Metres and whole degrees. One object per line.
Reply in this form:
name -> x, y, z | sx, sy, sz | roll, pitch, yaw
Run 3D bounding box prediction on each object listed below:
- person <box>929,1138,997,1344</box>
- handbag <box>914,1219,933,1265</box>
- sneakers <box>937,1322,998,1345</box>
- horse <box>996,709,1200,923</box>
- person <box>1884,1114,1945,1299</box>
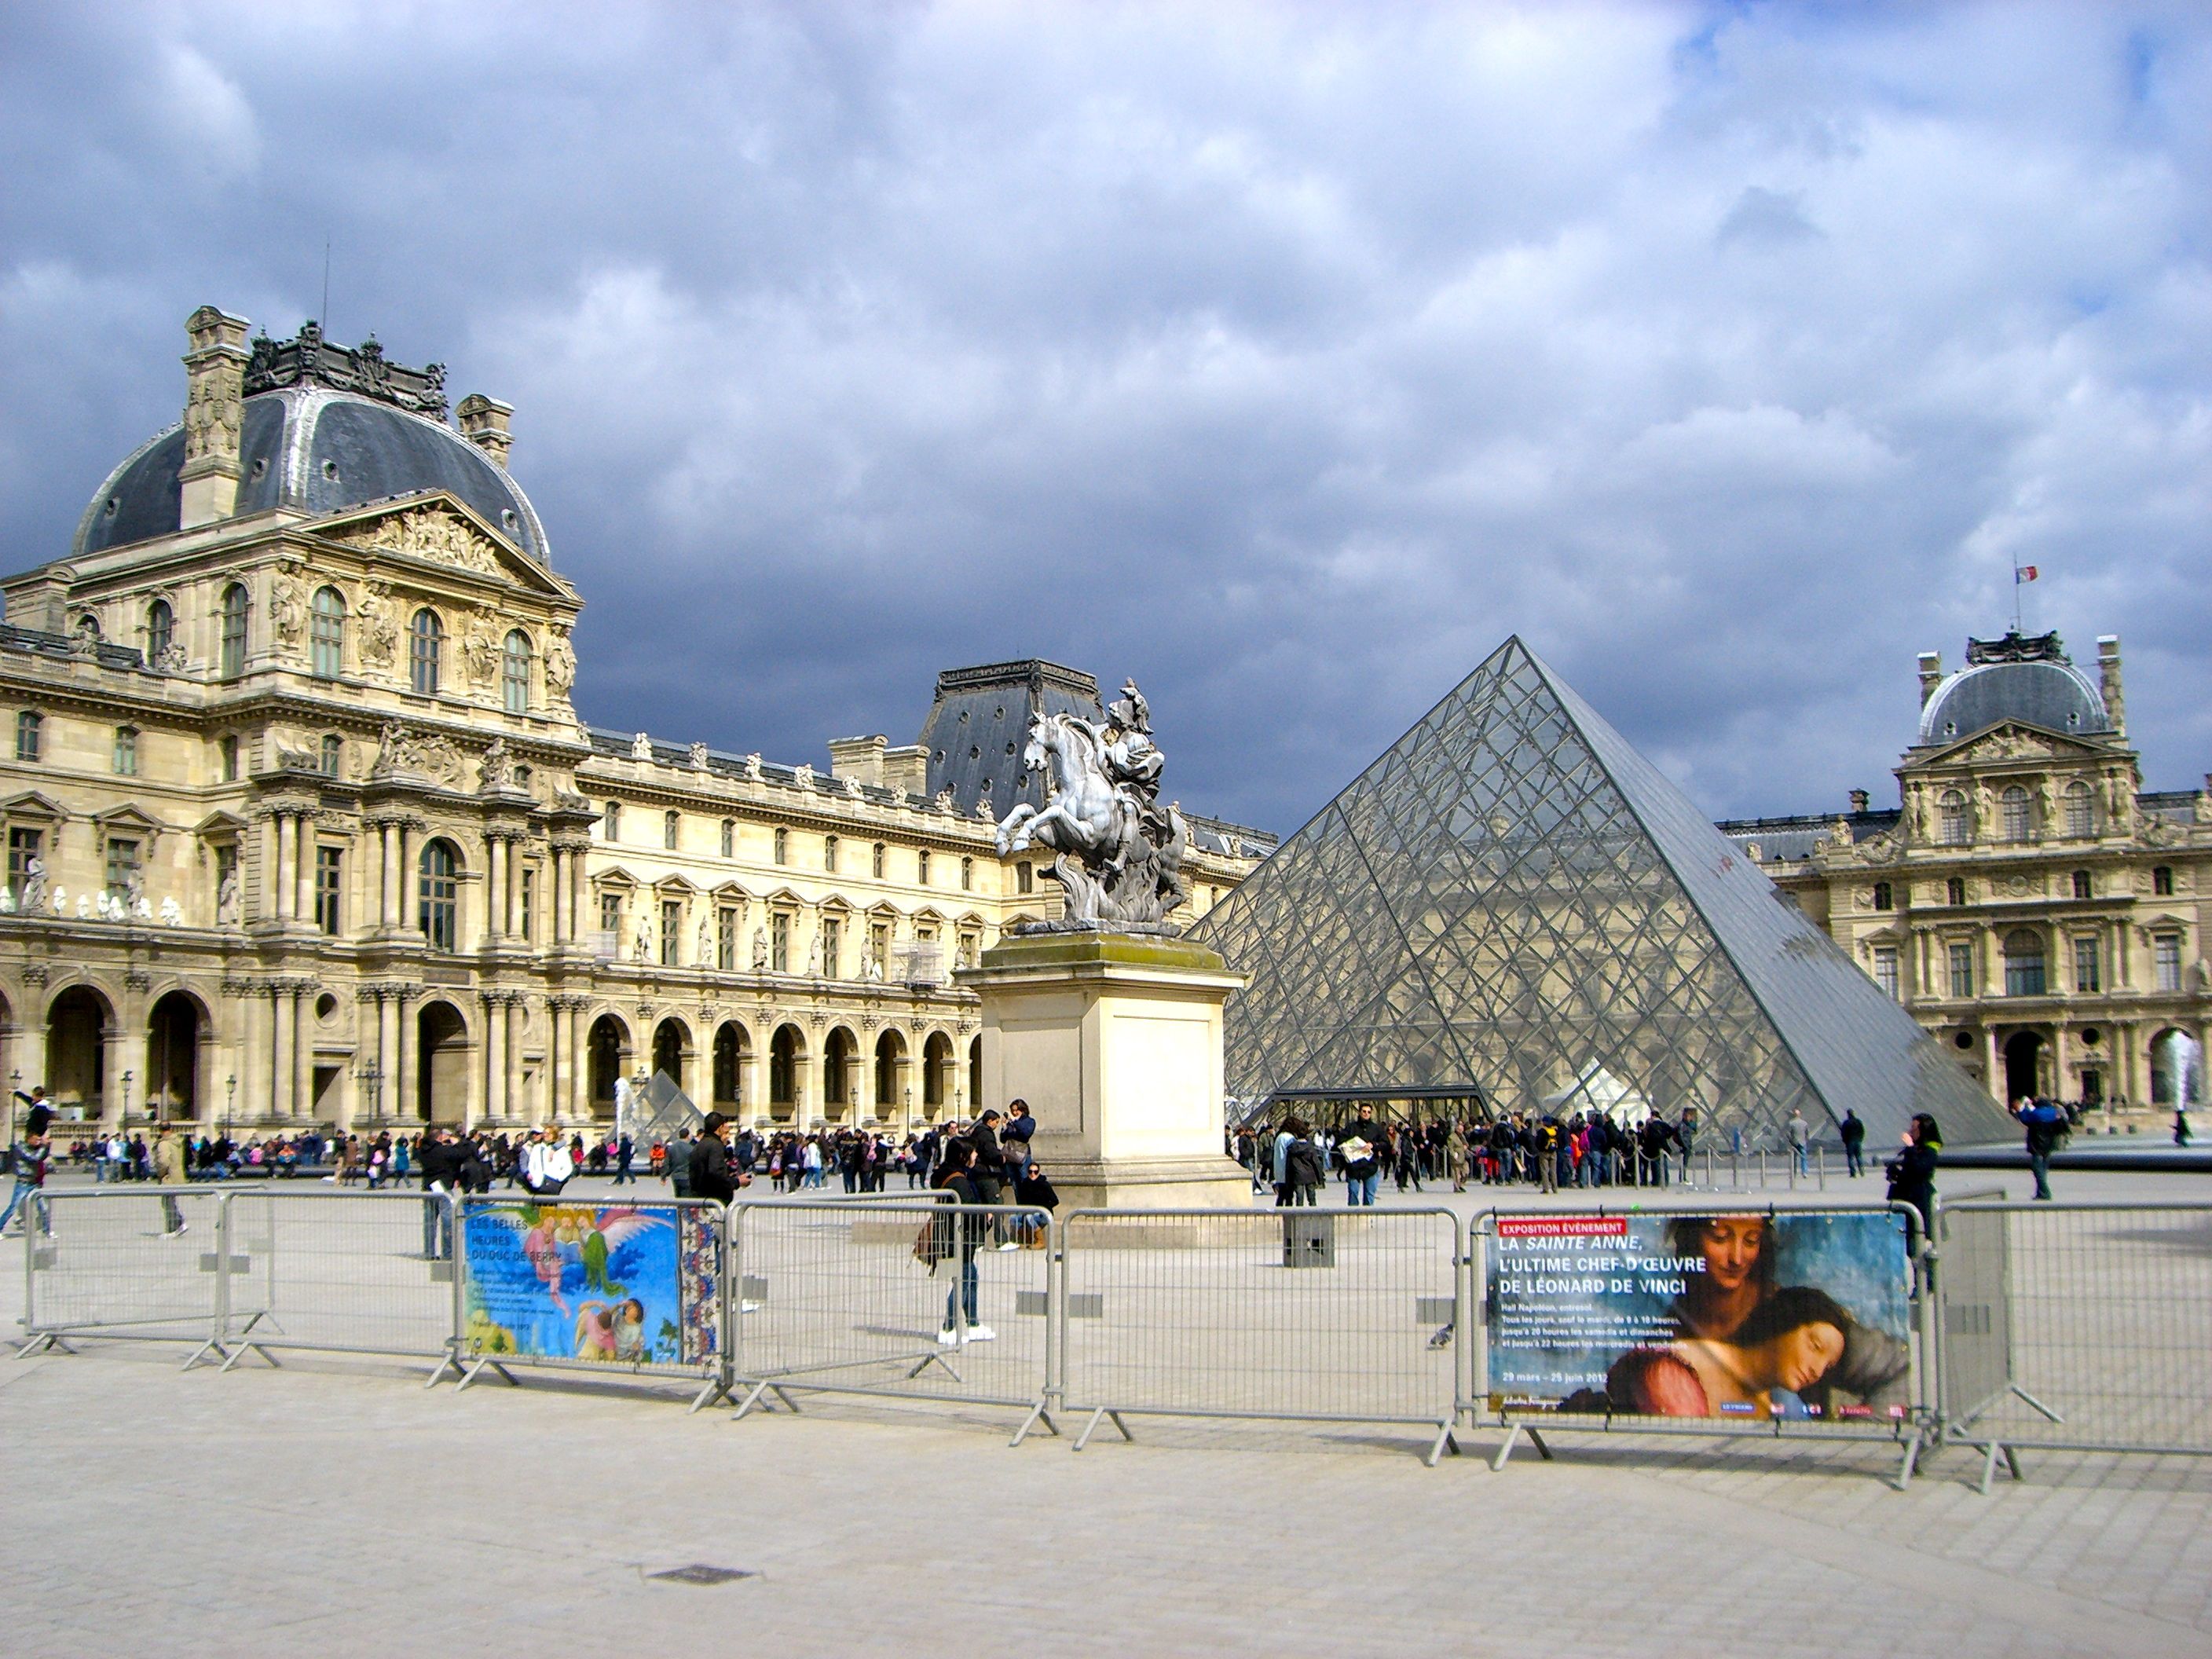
person -> -0.857, 2.473, 15.781 | 0.494, 1.200, 0.476 | -2, 1, -3
handbag -> -1.078, 2.485, 15.718 | 0.051, 0.225, 0.204 | 10, -38, -15
sneakers -> -0.809, 3.009, 15.674 | 0.183, 0.080, 0.238 | 0, -4, 14
horse -> -0.059, -0.187, 25.932 | 2.083, 2.456, 1.007 | 10, -6, -37
person -> 5.602, 2.448, 18.036 | 0.336, 1.029, 0.312 | -7, 16, -2
